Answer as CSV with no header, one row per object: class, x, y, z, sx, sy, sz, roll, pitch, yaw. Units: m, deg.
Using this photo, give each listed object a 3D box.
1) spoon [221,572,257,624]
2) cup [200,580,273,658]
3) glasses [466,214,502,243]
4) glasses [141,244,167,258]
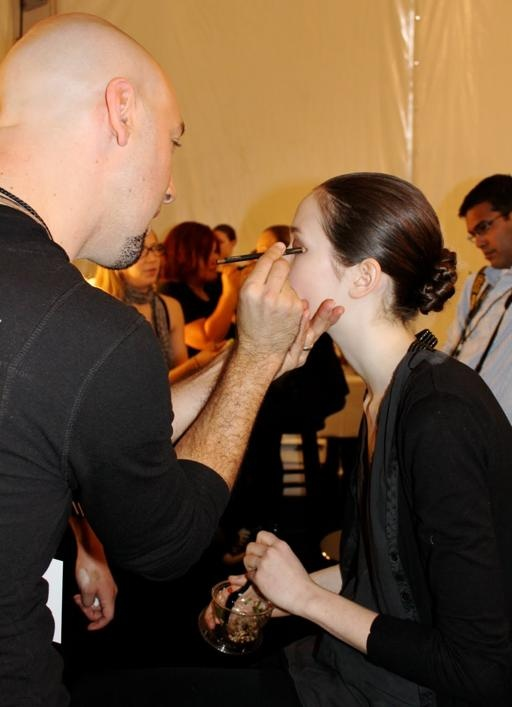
spoon,-0.032,0.487,1.241,0.031,0.023,0.117,15,18,16
cup,-0.040,0.534,1.247,0.143,0.092,0.133,8,34,-6
glasses,1.017,-0.566,2.787,0.175,0.047,0.159,-12,-14,-23
glasses,-0.434,-0.446,2.657,0.104,0.031,0.098,-1,7,20
